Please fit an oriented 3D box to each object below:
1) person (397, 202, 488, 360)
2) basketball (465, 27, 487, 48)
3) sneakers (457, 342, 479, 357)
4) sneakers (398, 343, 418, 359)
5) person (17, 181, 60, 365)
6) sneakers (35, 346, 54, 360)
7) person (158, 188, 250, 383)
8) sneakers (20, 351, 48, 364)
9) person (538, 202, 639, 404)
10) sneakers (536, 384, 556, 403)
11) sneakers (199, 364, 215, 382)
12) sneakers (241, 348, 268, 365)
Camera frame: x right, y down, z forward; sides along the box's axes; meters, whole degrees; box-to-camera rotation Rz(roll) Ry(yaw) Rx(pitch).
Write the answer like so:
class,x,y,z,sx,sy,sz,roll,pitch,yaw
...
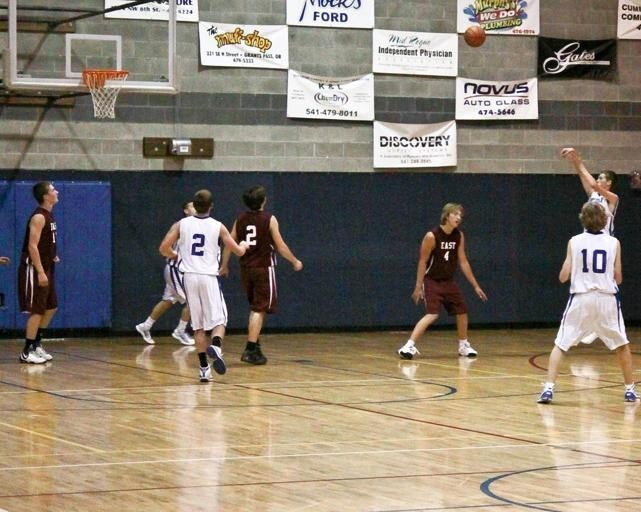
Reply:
class,x,y,z,sx,sy,sz,roll,pitch,yaw
person,1.514,0.322,9.855,1.133,1.926,0.550,-3,9,-19
basketball,2.363,-3.354,12.065,0.279,0.285,0.287,0,9,5
sneakers,1.858,1.181,9.950,0.113,0.174,0.361,1,-9,-14
sneakers,1.081,1.158,9.711,0.132,0.163,0.337,3,-1,6
person,-3.235,0.218,9.027,0.466,2.090,0.544,0,8,7
sneakers,-3.308,1.163,9.500,0.269,0.118,0.095,24,7,21
person,-1.130,0.331,7.723,0.788,1.950,0.892,-2,9,-10
sneakers,-3.322,1.164,9.131,0.319,0.156,0.125,3,-1,15
person,2.283,0.411,6.648,0.834,1.725,0.288,-1,8,-1
sneakers,1.956,1.181,6.846,0.095,0.134,0.279,3,-4,3
sneakers,-1.122,1.146,7.789,0.085,0.103,0.209,0,-2,0
sneakers,-0.763,1.135,8.962,0.122,0.187,0.374,3,-2,34
